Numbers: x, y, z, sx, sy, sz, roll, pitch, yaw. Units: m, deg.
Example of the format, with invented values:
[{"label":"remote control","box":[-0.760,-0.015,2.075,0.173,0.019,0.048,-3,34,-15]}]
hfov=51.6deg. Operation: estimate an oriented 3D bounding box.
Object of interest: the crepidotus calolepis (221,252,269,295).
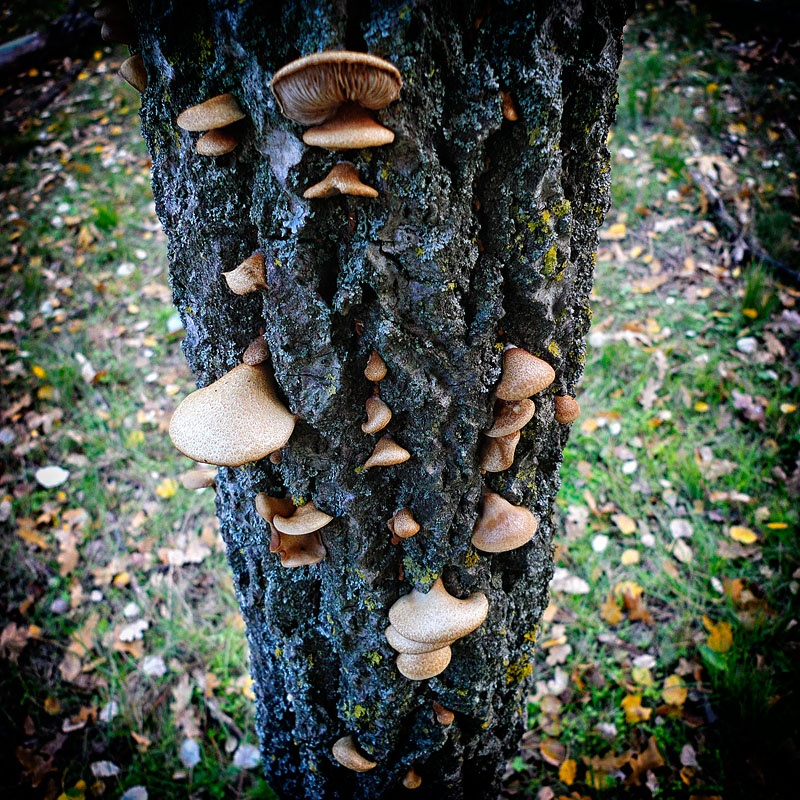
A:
[{"label":"crepidotus calolepis","box":[-0.788,-0.606,4.245,0.217,0.245,0.213,-12,44,-9]}]

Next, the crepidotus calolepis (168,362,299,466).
[{"label":"crepidotus calolepis","box":[-0.866,0.102,4.254,0.582,0.197,0.477,-40,81,-24]}]

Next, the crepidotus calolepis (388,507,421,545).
[{"label":"crepidotus calolepis","box":[0.014,0.684,4.520,0.151,0.049,0.173,-27,69,26]}]

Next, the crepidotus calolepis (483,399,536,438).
[{"label":"crepidotus calolepis","box":[0.599,0.090,4.456,0.218,0.068,0.179,-41,46,-9]}]

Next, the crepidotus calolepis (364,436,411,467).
[{"label":"crepidotus calolepis","box":[-0.074,0.322,4.444,0.241,0.195,0.145,5,44,8]}]

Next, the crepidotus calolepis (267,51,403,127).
[{"label":"crepidotus calolepis","box":[-0.249,-1.468,3.974,0.567,0.598,0.221,-3,85,30]}]

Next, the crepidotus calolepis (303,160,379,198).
[{"label":"crepidotus calolepis","box":[-0.285,-1.029,3.964,0.344,0.154,0.160,-2,44,2]}]

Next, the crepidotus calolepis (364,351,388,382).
[{"label":"crepidotus calolepis","box":[-0.133,-0.143,4.267,0.107,0.193,0.099,24,49,26]}]

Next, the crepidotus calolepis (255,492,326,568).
[{"label":"crepidotus calolepis","box":[-0.602,0.768,4.711,0.289,0.158,0.448,-25,47,-20]}]

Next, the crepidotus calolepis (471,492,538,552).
[{"label":"crepidotus calolepis","box":[0.585,0.719,4.657,0.333,0.224,0.283,11,47,14]}]

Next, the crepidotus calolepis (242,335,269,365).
[{"label":"crepidotus calolepis","box":[-0.759,-0.249,4.358,0.114,0.052,0.165,19,78,18]}]

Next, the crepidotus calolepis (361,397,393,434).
[{"label":"crepidotus calolepis","box":[-0.123,0.112,4.369,0.151,0.203,0.161,1,43,5]}]

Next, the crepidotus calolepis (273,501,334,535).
[{"label":"crepidotus calolepis","box":[-0.547,0.665,4.522,0.200,0.080,0.205,-15,49,1]}]

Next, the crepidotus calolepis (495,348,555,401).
[{"label":"crepidotus calolepis","box":[0.655,-0.132,4.366,0.249,0.124,0.271,16,72,29]}]

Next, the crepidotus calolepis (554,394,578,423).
[{"label":"crepidotus calolepis","box":[0.946,0.045,4.735,0.127,0.157,0.079,4,2,-12]}]

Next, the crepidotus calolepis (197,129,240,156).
[{"label":"crepidotus calolepis","box":[-0.890,-1.254,4.010,0.131,0.038,0.147,20,40,28]}]
